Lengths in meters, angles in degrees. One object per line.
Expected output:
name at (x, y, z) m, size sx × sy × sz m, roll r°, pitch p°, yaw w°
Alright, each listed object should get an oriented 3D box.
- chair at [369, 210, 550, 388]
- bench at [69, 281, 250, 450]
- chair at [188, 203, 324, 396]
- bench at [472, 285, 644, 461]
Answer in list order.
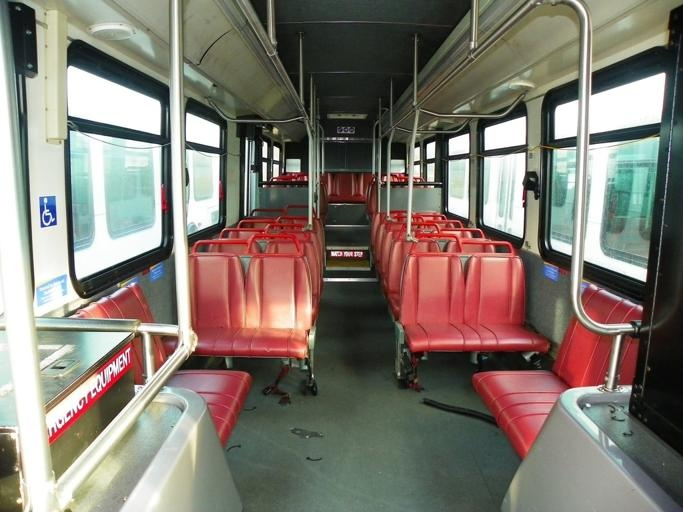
chair at (1.056, 0.298, 4.554) m, size 0.978 × 1.167 × 1.744 m, roll 0°, pitch 0°, yaw -1°
bench at (-1.043, 0.676, 2.858) m, size 0.915 × 0.969 × 0.968 m, roll 1°, pitch 3°, yaw -3°
chair at (-0.702, 0.410, 4.253) m, size 1.105 × 1.472 × 1.517 m, roll 1°, pitch 3°, yaw -2°
bench at (1.292, 0.610, 2.887) m, size 0.932 × 0.708 × 0.715 m, roll -4°, pitch 13°, yaw -18°
